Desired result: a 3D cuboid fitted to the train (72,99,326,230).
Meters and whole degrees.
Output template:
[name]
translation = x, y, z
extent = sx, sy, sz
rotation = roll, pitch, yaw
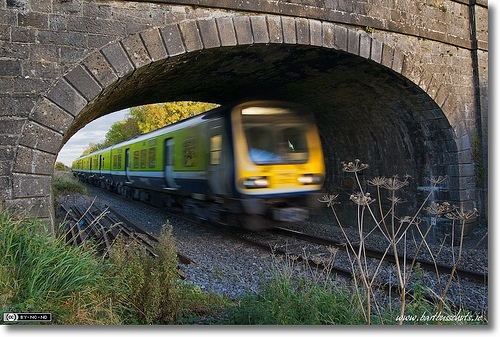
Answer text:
[train]
translation = -5.555, -0.601, 18.000
extent = 3.328, 4.572, 23.281
rotation = 0, 2, -28
